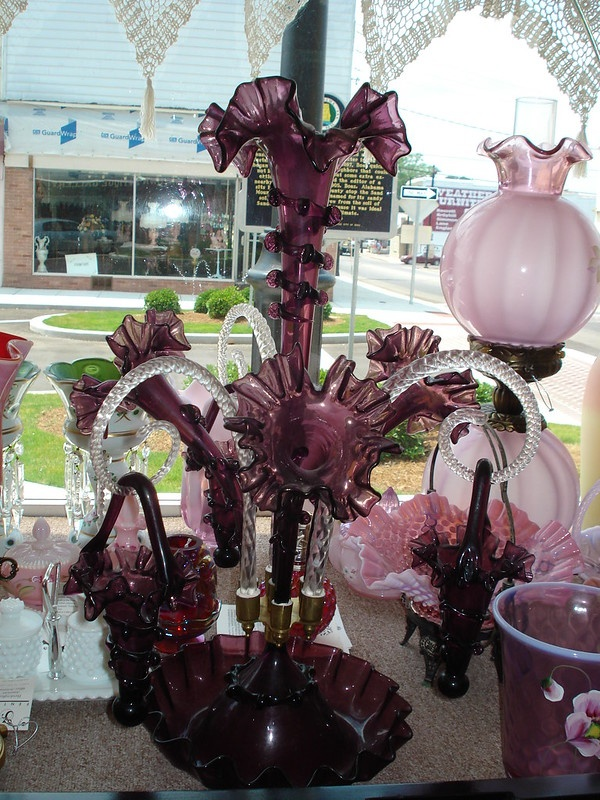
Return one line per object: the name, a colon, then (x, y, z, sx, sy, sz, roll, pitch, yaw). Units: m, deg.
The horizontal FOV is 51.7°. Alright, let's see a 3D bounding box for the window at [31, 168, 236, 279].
window: (-1.309, -1.395, 4.941, 1.710, 0.810, 0.032, -13, 30, -41)
